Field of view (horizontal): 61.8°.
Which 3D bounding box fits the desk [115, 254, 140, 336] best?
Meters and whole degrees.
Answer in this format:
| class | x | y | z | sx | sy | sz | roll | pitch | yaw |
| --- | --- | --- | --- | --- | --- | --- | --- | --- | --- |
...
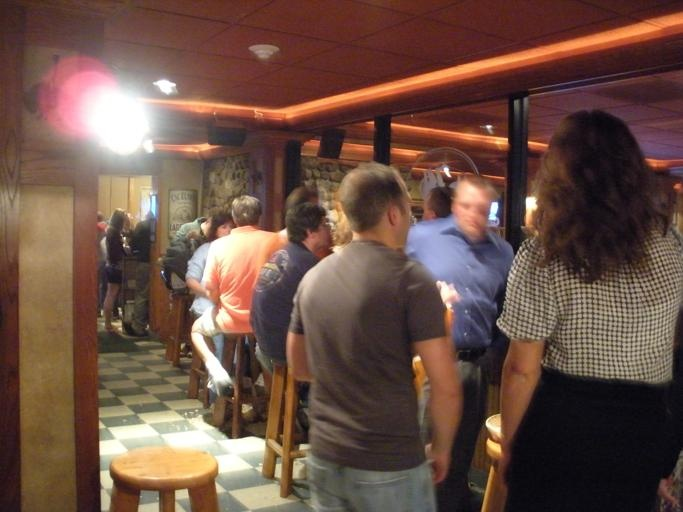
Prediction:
| class | x | y | z | sx | sy | sz | roll | pitch | yaw |
| --- | --- | --- | --- | --- | --- | --- | --- | --- | --- |
| desk | -3.491 | 0.618 | 9.397 | 0.248 | 1.205 | 0.715 | -1 | 4 | -20 |
